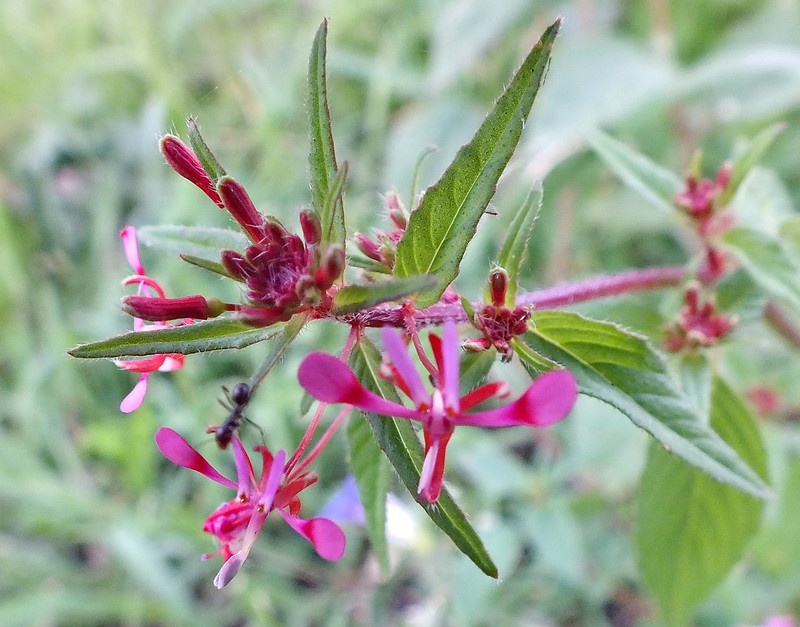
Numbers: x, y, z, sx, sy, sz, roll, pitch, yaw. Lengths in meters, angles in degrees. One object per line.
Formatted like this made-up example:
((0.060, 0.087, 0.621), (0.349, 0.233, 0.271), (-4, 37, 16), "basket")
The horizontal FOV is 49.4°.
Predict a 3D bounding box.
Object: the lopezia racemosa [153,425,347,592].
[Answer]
((-0.274, 0.396, 1.804), (0.313, 0.277, 0.482), (2, -3, -20), "lopezia racemosa")

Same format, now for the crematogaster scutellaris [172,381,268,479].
((-0.341, 0.252, 1.782), (0.091, 0.237, 0.079), (5, 24, 9), "crematogaster scutellaris")

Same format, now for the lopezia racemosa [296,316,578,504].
((0.079, 0.147, 1.737), (0.462, 0.366, 0.277), (-32, -9, -2), "lopezia racemosa")

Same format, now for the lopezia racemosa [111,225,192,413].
((-0.530, 0.027, 1.854), (0.134, 0.476, 0.126), (-9, 22, -30), "lopezia racemosa")
